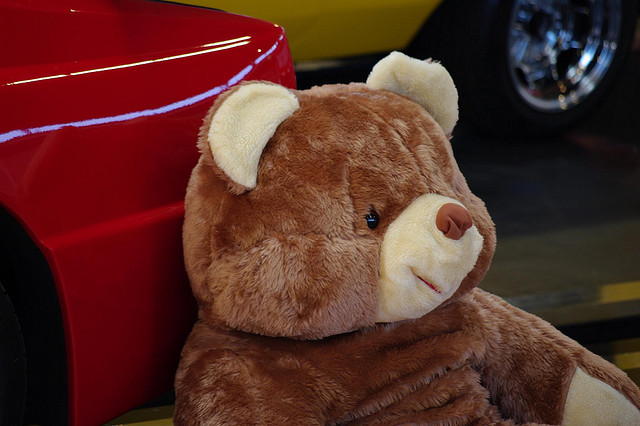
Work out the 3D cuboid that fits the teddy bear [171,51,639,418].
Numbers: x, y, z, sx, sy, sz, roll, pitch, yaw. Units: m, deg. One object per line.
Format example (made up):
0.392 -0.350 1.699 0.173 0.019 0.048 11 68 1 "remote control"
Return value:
0.234 0.143 1.868 0.864 1.117 1.149 1 5 44 "teddy bear"
